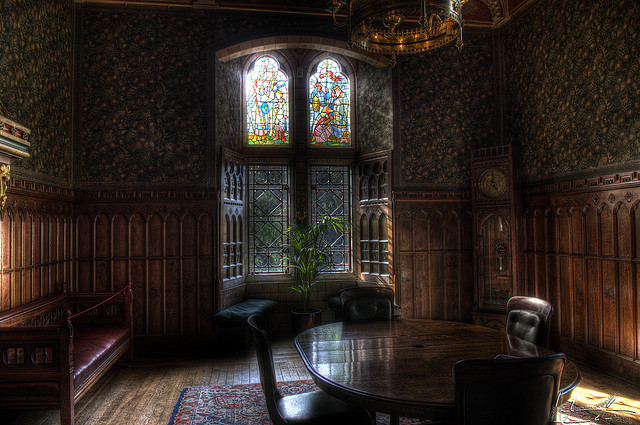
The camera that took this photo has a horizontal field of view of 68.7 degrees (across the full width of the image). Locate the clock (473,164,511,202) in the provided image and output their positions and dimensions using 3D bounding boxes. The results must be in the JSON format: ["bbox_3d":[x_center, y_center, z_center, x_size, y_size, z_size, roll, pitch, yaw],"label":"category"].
[{"bbox_3d":[2.970,-0.502,7.989,0.626,0.707,0.113,-2,-8,26],"label":"clock"}]

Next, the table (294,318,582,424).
[{"bbox_3d":[0.929,1.494,5.002,2.174,0.414,1.849,-7,13,-27],"label":"table"}]

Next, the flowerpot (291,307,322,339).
[{"bbox_3d":[-0.246,1.873,7.992,0.464,0.523,0.488,1,-9,-7],"label":"flowerpot"}]
